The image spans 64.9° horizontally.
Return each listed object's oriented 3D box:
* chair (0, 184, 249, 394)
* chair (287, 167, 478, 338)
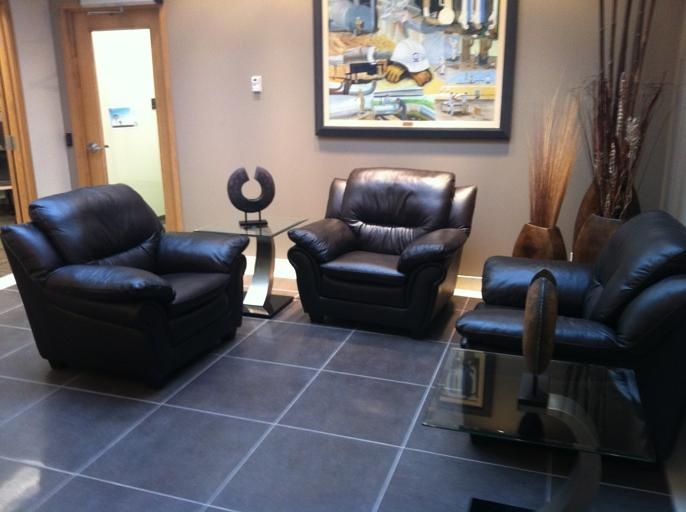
[{"bbox_3d":[-1.390,0.117,3.588,1.048,1.077,1.019,7,22,22],"label":"chair"},{"bbox_3d":[0.309,-0.068,4.259,1.307,1.056,0.998,6,21,18],"label":"chair"}]
